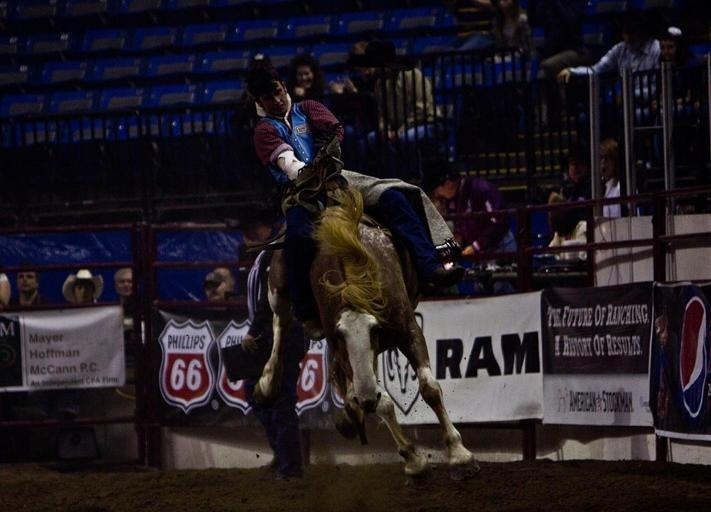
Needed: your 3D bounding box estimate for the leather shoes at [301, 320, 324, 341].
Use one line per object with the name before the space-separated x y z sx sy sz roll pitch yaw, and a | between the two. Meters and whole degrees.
leather shoes | -0.584 0.991 18.177 0.128 0.248 0.422 -39 -24 -12
